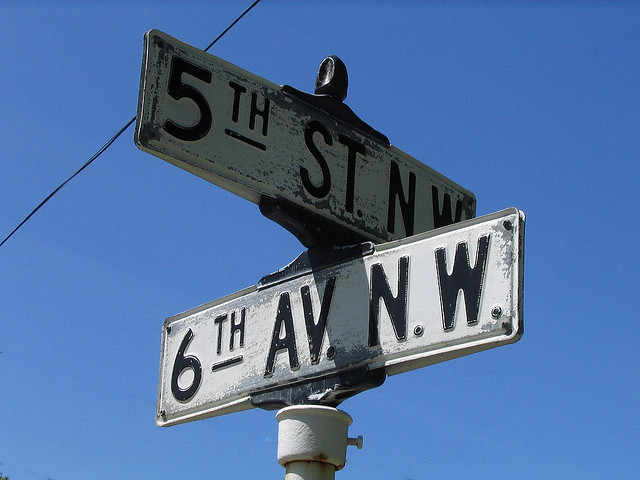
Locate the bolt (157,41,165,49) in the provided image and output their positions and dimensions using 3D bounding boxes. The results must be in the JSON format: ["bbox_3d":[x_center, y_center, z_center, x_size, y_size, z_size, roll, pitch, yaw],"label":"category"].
[{"bbox_3d":[-0.751,-0.902,7.164,0.038,0.034,0.010,31,-43,-27],"label":"bolt"}]

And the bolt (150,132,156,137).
[{"bbox_3d":[-0.776,-0.470,7.039,0.028,0.023,0.009,14,-38,-10],"label":"bolt"}]
